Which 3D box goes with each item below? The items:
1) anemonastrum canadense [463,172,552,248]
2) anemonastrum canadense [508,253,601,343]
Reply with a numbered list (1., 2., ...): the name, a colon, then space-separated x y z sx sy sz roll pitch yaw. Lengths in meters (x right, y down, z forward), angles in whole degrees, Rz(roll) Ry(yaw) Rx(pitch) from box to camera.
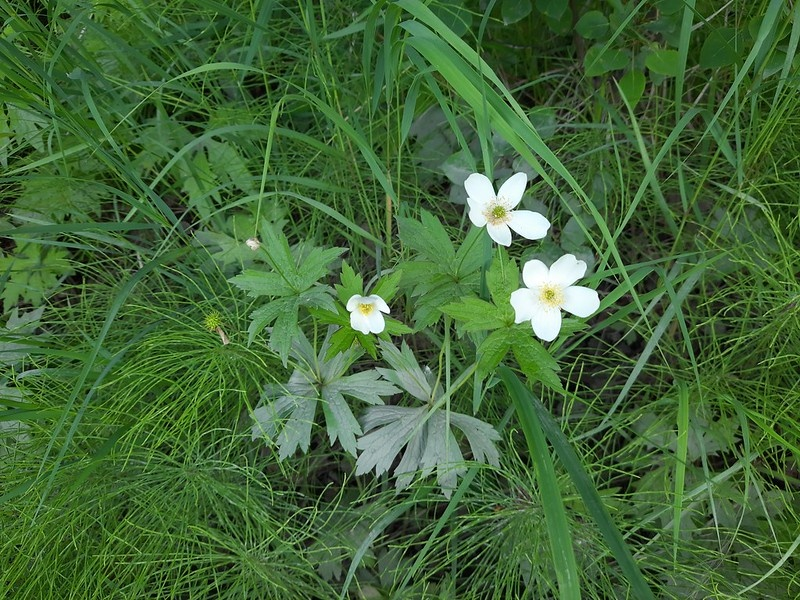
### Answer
1. anemonastrum canadense: 0.316 -0.288 1.906 0.222 0.142 0.252 -27 74 -2
2. anemonastrum canadense: 0.448 -0.021 1.777 0.262 0.106 0.248 28 85 -11
